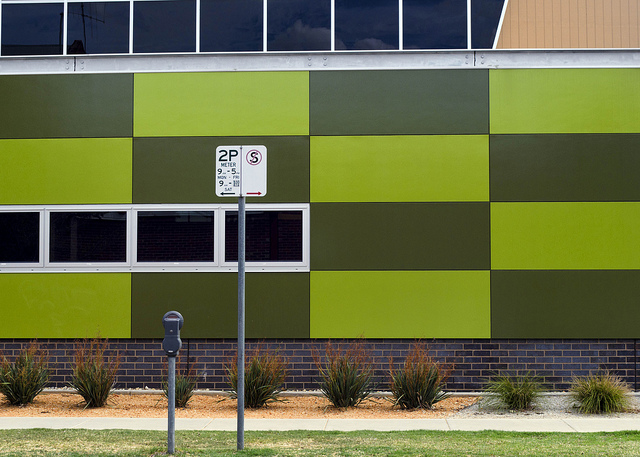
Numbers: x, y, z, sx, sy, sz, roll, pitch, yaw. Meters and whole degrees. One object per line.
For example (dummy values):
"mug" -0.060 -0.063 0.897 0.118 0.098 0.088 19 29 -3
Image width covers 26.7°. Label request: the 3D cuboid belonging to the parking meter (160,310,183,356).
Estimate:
"parking meter" -2.827 2.020 25.923 0.352 0.898 0.438 2 -17 -5
